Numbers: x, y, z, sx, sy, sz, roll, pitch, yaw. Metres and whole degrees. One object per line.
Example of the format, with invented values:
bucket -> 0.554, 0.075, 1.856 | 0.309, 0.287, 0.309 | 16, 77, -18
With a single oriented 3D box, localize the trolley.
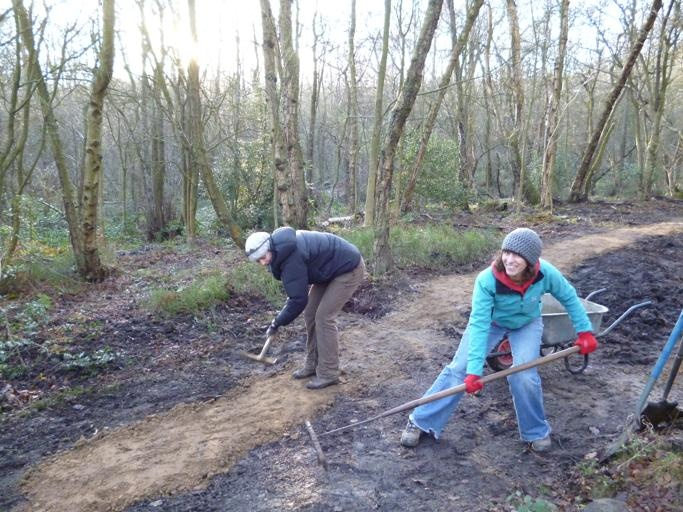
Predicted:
trolley -> 2.942, 1.048, 8.214 | 1.221, 0.566, 0.546 | -24, 13, -5

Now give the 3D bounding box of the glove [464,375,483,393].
glove -> 1.544, 1.482, 7.288 | 0.214, 0.187, 0.133 | -3, 7, -10

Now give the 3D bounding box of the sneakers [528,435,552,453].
sneakers -> 2.368, 2.264, 7.445 | 0.207, 0.265, 0.155 | -5, -4, 4

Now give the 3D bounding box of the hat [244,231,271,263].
hat -> -1.085, -0.117, 7.846 | 0.260, 0.307, 0.338 | -8, 25, 48
